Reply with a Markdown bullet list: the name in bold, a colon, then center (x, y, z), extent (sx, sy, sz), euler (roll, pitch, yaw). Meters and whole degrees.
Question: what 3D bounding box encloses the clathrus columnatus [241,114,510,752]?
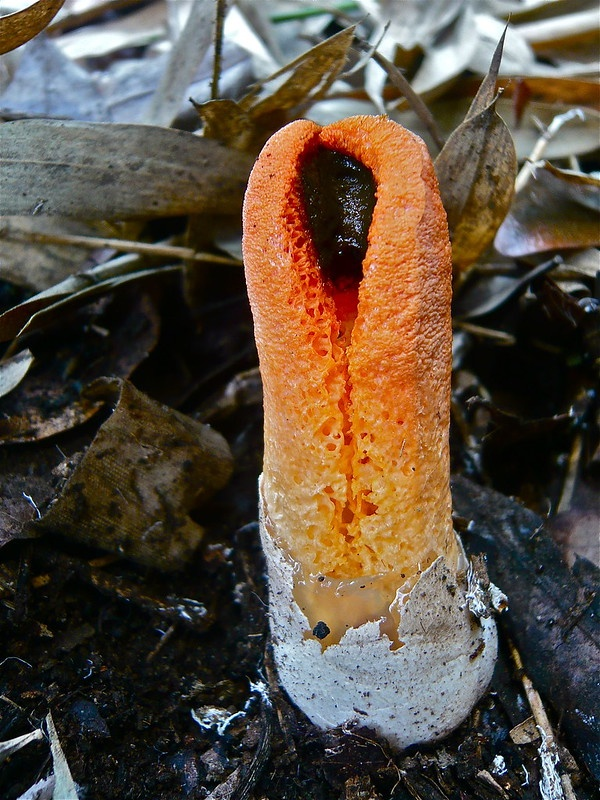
- **clathrus columnatus**: center (0.081, 0.072, 0.989), extent (0.282, 0.733, 0.266), euler (-15, 18, -25)
